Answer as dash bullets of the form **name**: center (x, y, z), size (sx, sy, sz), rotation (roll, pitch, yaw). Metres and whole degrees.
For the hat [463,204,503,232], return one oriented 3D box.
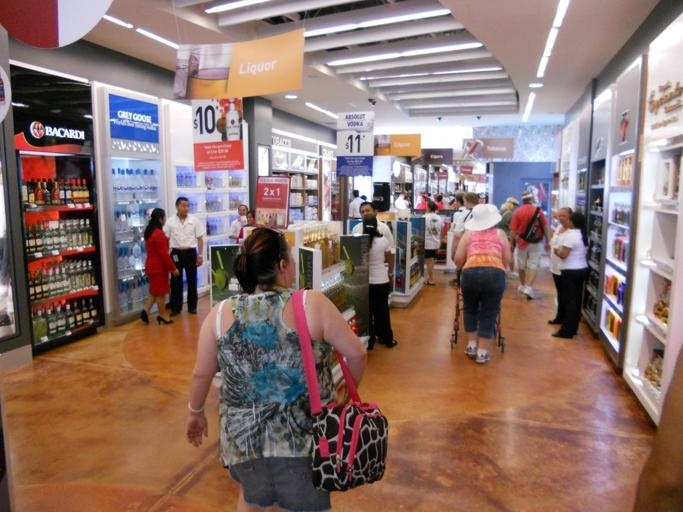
- **hat**: center (1.873, -0.513, 6.484), size (0.447, 0.149, 0.522), rotation (-19, 40, 28)

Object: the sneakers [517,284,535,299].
- **sneakers**: center (3.599, 0.708, 9.366), size (0.174, 0.254, 0.510), rotation (4, 8, 24)

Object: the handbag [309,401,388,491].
- **handbag**: center (0.080, 0.919, 2.688), size (0.345, 0.569, 0.579), rotation (-3, -8, 26)

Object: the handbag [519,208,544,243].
- **handbag**: center (3.659, -0.603, 9.262), size (0.250, 0.605, 0.454), rotation (5, 18, 3)

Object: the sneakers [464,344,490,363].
- **sneakers**: center (1.752, 1.265, 6.212), size (0.159, 0.157, 0.342), rotation (1, 10, 20)
